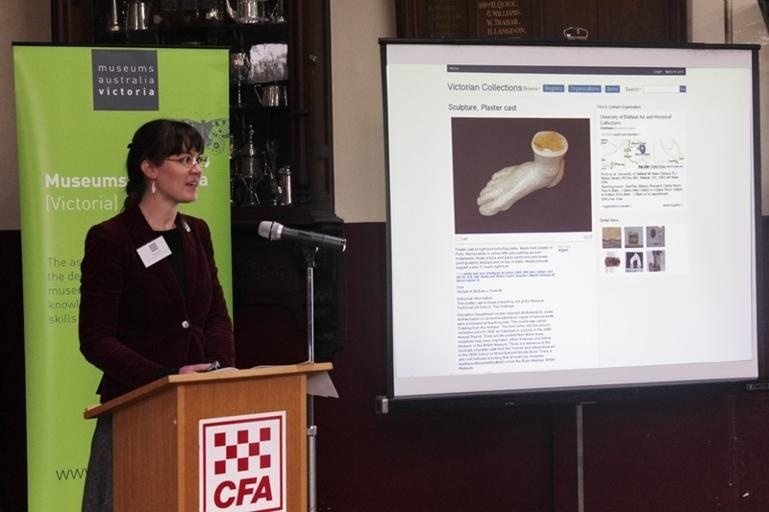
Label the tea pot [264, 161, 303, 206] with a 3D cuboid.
[{"bbox_3d":[-0.617,-0.434,4.830,0.242,0.231,0.105,3,9,35],"label":"tea pot"}]

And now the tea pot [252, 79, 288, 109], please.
[{"bbox_3d":[-0.680,-0.963,4.768,0.187,0.142,0.122,-2,3,7],"label":"tea pot"}]

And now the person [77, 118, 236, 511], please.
[{"bbox_3d":[-1.236,0.006,4.290,0.494,1.439,0.719,4,10,42],"label":"person"}]

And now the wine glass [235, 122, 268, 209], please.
[{"bbox_3d":[-0.816,-0.554,4.853,0.173,0.473,0.082,-1,7,13],"label":"wine glass"}]
